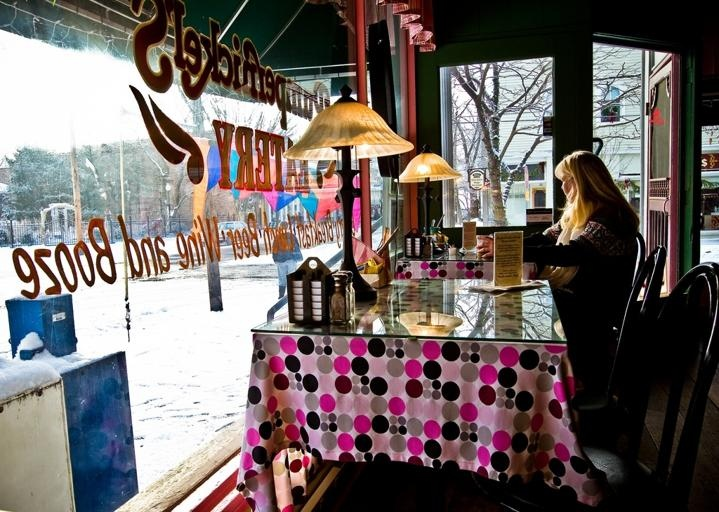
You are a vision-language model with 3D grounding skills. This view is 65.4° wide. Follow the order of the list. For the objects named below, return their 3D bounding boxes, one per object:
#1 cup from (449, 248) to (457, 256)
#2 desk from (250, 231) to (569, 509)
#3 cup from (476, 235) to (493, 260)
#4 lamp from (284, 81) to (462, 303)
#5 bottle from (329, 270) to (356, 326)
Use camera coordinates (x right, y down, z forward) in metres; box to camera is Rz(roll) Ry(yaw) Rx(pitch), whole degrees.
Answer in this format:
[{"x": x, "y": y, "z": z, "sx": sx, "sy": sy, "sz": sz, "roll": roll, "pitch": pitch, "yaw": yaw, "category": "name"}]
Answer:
[{"x": 0.656, "y": -0.034, "z": 3.902, "sx": 0.041, "sy": 0.059, "sz": 0.047, "roll": 1, "pitch": -2, "yaw": 7, "category": "cup"}, {"x": 0.193, "y": 0.542, "z": 2.094, "sx": 1.159, "sy": 0.642, "sz": 0.545, "roll": -1, "pitch": 7, "yaw": 8, "category": "desk"}, {"x": 0.815, "y": -0.062, "z": 3.644, "sx": 0.079, "sy": 0.164, "sz": 0.149, "roll": -1, "pitch": -4, "yaw": -2, "category": "cup"}, {"x": 0.194, "y": -0.302, "z": 2.584, "sx": 0.658, "sy": 1.203, "sz": 0.718, "roll": 2, "pitch": 9, "yaw": 22, "category": "lamp"}, {"x": -0.064, "y": 0.154, "z": 2.017, "sx": 0.060, "sy": 0.222, "sz": 0.173, "roll": 1, "pitch": 0, "yaw": 5, "category": "bottle"}]
